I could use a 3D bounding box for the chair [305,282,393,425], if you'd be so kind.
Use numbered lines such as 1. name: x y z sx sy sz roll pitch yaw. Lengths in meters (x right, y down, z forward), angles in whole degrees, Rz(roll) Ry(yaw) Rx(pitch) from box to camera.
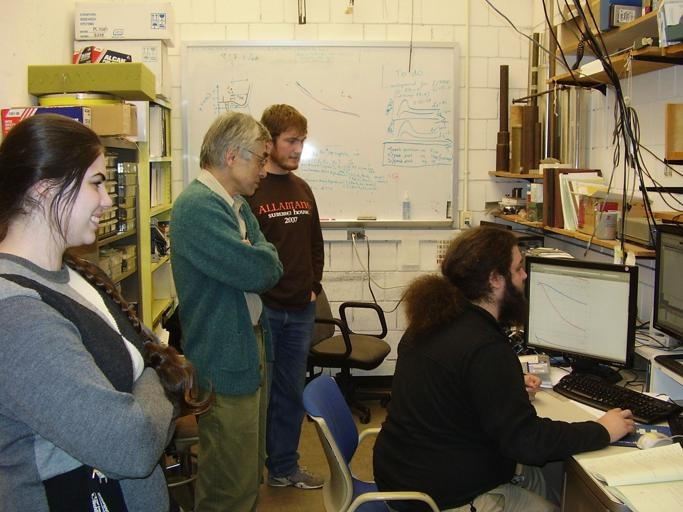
1. chair: -0.001 0.635 4.049 0.622 0.881 0.600 1 5 28

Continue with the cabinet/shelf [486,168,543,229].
1. cabinet/shelf: 1.221 -0.401 3.981 0.321 0.371 0.998 2 6 6

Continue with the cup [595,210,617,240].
1. cup: 1.317 -0.166 2.981 0.114 0.135 0.122 -1 1 0

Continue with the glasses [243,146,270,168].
1. glasses: -0.384 -0.445 2.587 0.084 0.026 0.086 26 6 17

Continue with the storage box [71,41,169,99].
1. storage box: -1.422 -1.239 3.868 0.415 0.270 0.429 0 6 -3

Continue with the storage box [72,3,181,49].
1. storage box: -1.438 -1.535 3.835 0.591 0.278 0.075 0 6 -14

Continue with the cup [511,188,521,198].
1. cup: 1.275 -0.466 4.272 0.071 0.087 0.074 -3 15 1

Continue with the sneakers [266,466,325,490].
1. sneakers: -0.250 1.247 3.319 0.353 0.161 0.134 1 -2 -3

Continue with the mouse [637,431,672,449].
1. mouse: 1.095 0.640 2.040 0.078 0.028 0.058 -1 7 9

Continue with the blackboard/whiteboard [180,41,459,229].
1. blackboard/whiteboard: -0.171 -0.885 3.871 1.376 0.986 0.112 0 4 0
